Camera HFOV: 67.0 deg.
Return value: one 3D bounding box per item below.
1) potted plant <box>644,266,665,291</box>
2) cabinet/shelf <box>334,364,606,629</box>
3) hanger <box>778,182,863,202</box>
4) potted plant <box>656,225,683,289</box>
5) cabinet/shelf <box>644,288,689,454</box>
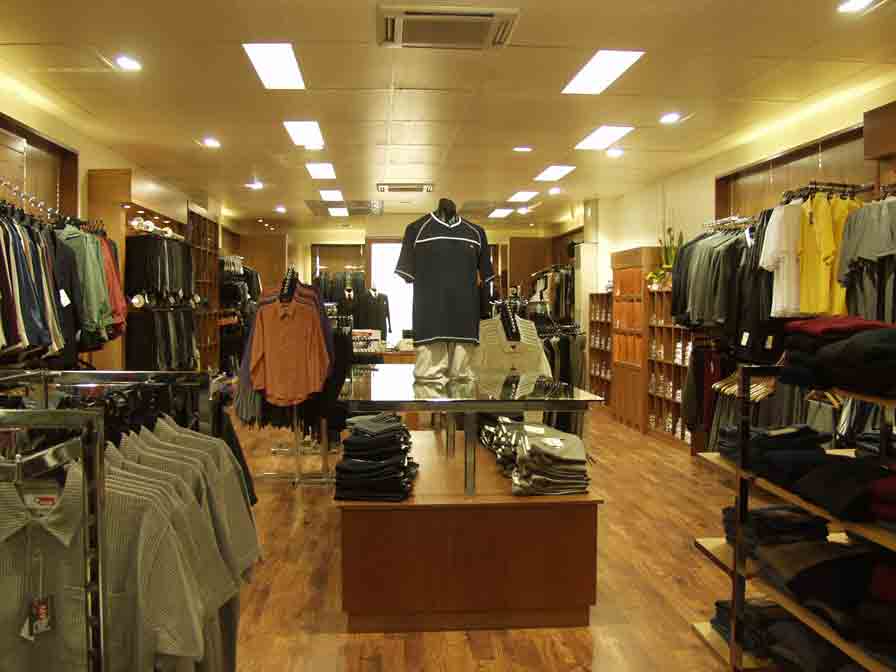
[{"bbox_3d":[2.233,-0.606,7.297,0.194,0.222,0.196,-5,9,-38],"label":"potted plant"},{"bbox_3d":[0.086,0.733,3.911,1.110,0.820,1.214,-1,3,-3],"label":"cabinet/shelf"},{"bbox_3d":[2.804,-1.059,4.978,0.592,0.159,0.343,2,8,12],"label":"hanger"},{"bbox_3d":[2.453,-0.887,7.392,0.251,0.605,0.858,2,8,18],"label":"potted plant"},{"bbox_3d":[2.318,0.291,7.062,0.228,1.559,0.953,0,7,1],"label":"cabinet/shelf"}]
